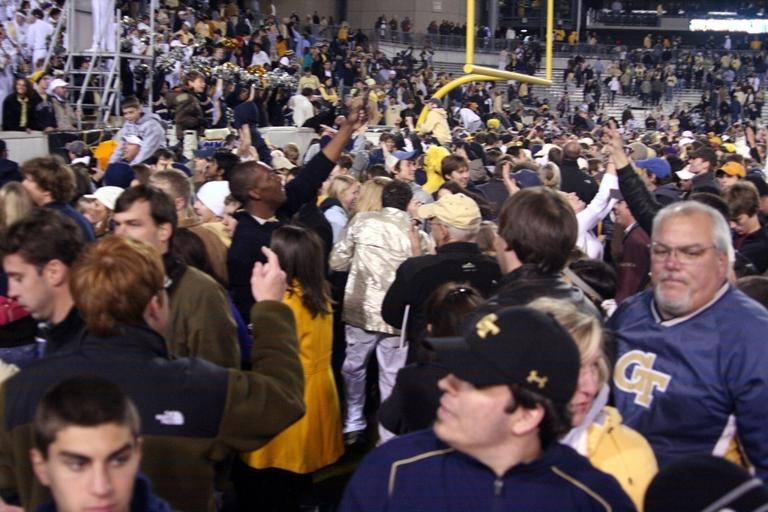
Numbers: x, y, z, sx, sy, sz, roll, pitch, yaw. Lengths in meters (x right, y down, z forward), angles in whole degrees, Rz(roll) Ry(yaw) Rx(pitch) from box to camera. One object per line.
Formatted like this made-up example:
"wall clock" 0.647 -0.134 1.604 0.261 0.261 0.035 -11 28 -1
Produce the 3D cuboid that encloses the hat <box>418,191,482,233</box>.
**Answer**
"hat" 0.414 -0.352 4.965 0.144 0.290 0.219 28 -9 48

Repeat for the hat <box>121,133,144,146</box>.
"hat" -2.683 -1.240 8.176 0.195 0.075 0.151 12 7 27

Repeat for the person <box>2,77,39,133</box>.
"person" -4.778 -1.999 10.154 0.501 0.704 0.300 0 6 -39

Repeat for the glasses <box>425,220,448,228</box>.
"glasses" 0.359 -0.222 5.196 0.171 0.042 0.170 9 8 41

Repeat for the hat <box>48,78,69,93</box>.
"hat" -4.983 -2.597 11.595 0.348 0.103 0.236 -10 1 30

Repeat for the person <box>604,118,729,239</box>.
"person" 1.659 -0.363 4.773 0.367 1.045 0.294 -24 21 4

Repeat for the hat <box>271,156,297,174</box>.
"hat" -1.033 -0.957 7.953 0.228 0.100 0.320 -28 20 -28

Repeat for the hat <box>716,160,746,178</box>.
"hat" 3.864 -0.952 8.374 0.311 0.114 0.192 4 4 -23

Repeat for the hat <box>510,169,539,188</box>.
"hat" 1.421 -0.794 7.702 0.270 0.225 0.683 4 3 8

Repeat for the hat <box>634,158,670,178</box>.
"hat" 2.785 -0.919 7.853 0.395 0.116 0.235 17 18 12
